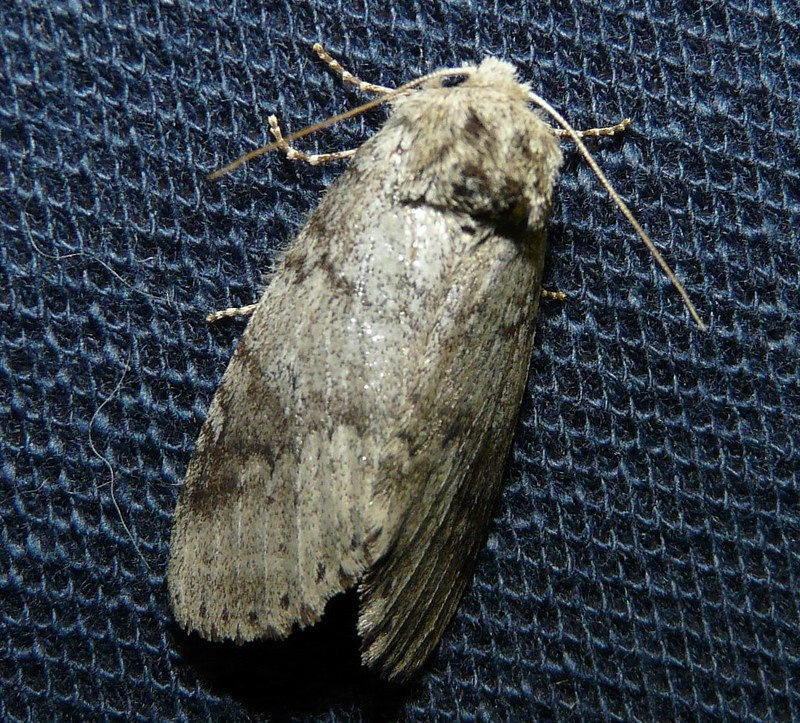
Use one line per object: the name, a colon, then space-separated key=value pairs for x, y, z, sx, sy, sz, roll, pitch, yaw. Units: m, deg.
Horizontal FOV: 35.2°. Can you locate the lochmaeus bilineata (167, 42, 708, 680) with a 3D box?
lochmaeus bilineata: x=-0.034 y=0.001 z=2.259 sx=0.548 sy=0.141 sz=1.214 roll=21 pitch=84 yaw=1
